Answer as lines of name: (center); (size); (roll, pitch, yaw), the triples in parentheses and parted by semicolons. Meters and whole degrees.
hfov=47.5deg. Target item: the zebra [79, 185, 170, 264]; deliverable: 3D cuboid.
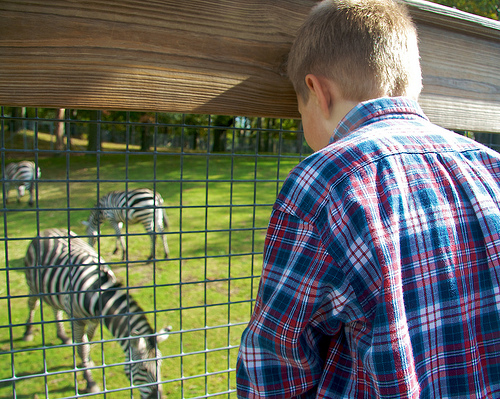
zebra: (-1.541, 0.344, 7.018); (1.130, 0.895, 0.354); (-4, 0, 13)
